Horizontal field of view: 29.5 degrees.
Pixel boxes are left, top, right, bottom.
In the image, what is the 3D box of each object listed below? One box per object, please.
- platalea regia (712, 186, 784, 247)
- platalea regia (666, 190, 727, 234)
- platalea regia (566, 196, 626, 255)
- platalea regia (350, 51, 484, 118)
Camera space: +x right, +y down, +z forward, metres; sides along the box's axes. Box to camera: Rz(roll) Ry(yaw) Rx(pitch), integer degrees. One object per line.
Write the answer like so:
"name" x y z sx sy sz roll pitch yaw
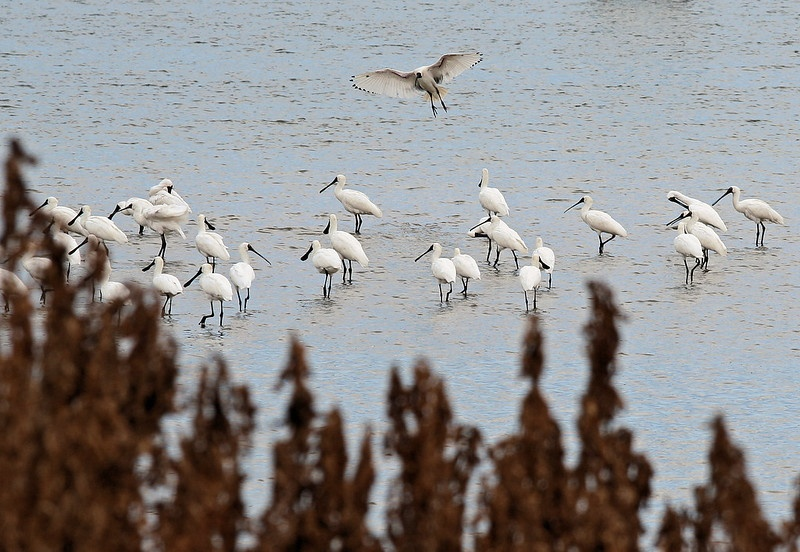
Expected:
"platalea regia" 6.024 -1.056 26.203 1.326 0.384 0.917 9 107 31
"platalea regia" 5.136 -1.222 26.536 0.479 0.691 1.339 -40 35 -23
"platalea regia" 3.251 -0.880 25.266 1.264 0.411 0.849 6 97 37
"platalea regia" 0.546 -3.762 29.825 2.487 1.224 0.751 -16 71 7
